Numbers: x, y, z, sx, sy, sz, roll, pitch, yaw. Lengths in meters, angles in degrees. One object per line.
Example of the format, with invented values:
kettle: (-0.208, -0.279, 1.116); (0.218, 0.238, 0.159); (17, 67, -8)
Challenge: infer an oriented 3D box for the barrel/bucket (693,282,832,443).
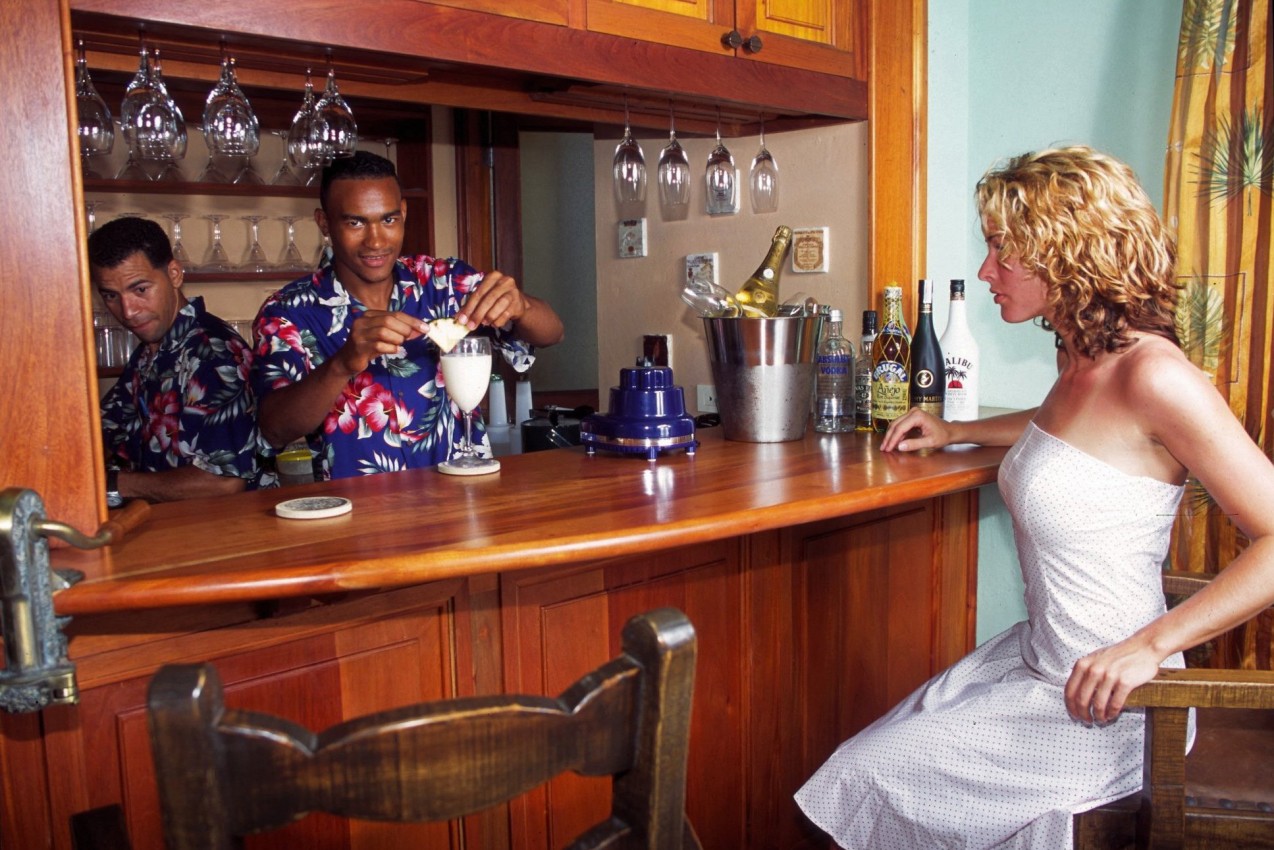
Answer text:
barrel/bucket: (0.325, -0.128, 2.518); (0.319, 0.293, 0.341); (-1, 3, 0)
